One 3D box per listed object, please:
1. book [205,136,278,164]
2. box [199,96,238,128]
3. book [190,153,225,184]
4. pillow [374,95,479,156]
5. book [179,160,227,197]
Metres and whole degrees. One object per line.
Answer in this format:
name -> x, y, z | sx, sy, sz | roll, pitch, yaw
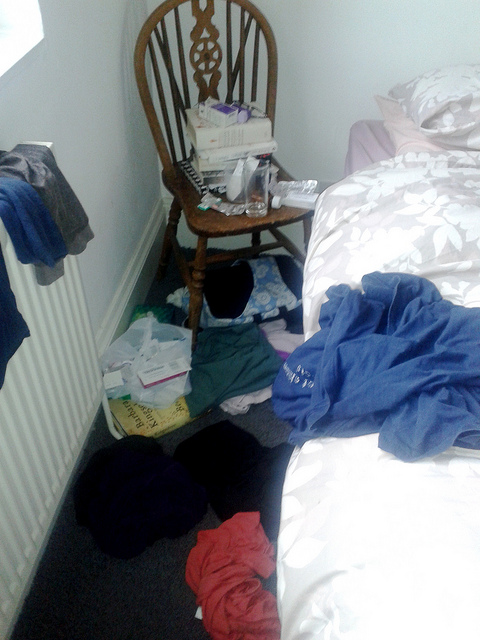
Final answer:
book -> -0.004, -0.499, 1.510 | 0.113, 0.025, 0.116 | -12, 33, -14
box -> -0.068, -0.600, 1.509 | 0.114, 0.049, 0.069 | 31, 52, 19
book -> -0.093, -0.450, 1.523 | 0.095, 0.099, 0.023 | -5, 57, 4
pillow -> 0.500, -0.564, 1.498 | 0.214, 0.068, 0.236 | -2, 47, -10
book -> -0.128, -0.442, 1.610 | 0.128, 0.132, 0.034 | -23, -17, 23
